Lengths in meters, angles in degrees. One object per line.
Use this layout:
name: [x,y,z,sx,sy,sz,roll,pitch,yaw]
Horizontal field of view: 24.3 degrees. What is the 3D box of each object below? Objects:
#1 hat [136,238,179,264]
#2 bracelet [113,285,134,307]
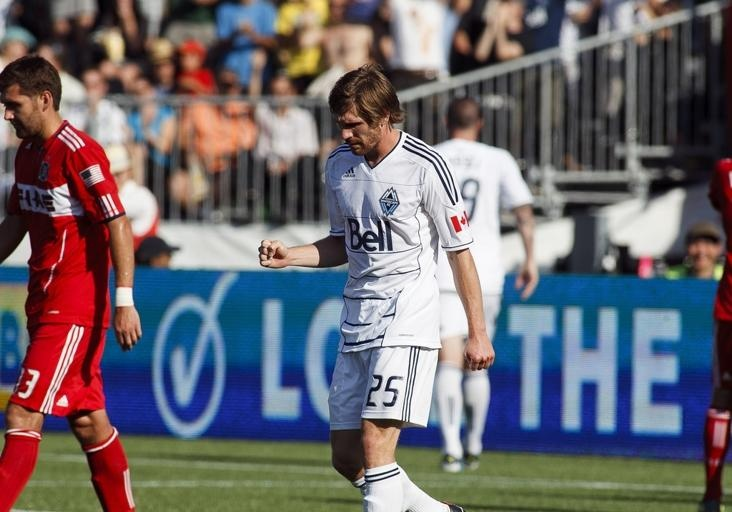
hat: [-2.157,-0.023,17.417,0.356,0.198,0.259,-15,18,-14]
bracelet: [-1.959,0.327,13.742,0.144,0.158,0.143,0,0,-12]
